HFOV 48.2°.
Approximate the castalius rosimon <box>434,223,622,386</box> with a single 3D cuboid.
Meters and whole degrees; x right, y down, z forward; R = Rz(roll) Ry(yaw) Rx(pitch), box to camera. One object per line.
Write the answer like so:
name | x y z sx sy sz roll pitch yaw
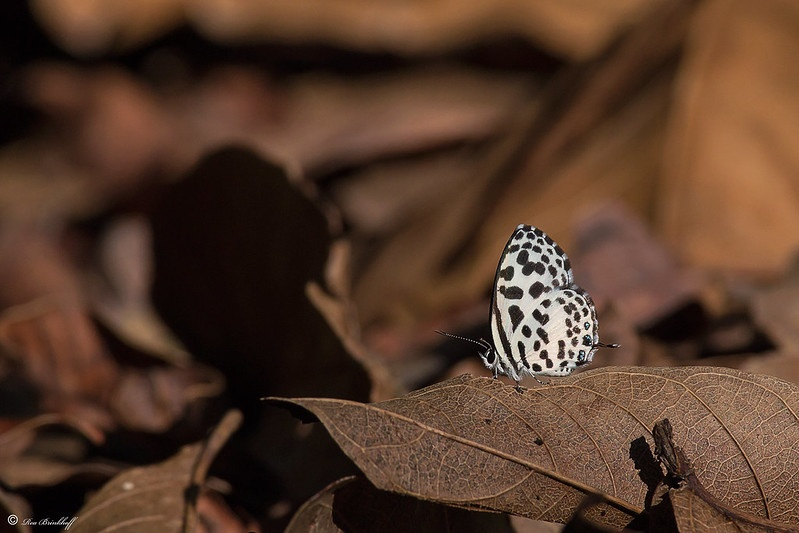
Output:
castalius rosimon | 0.192 0.101 1.383 0.226 0.246 0.212 -31 64 -21
